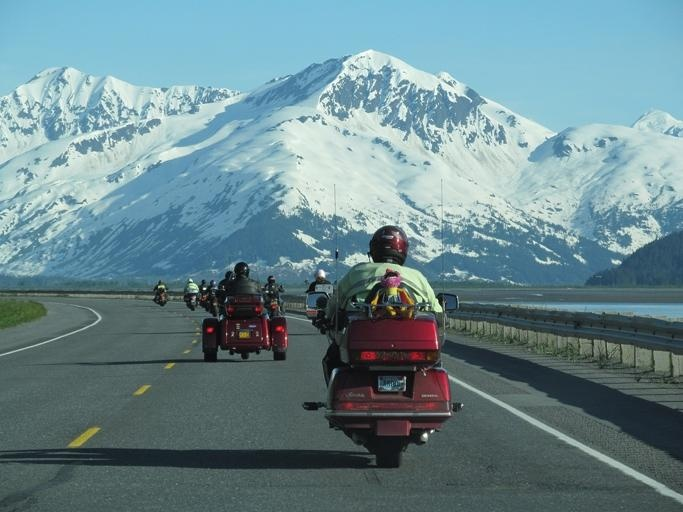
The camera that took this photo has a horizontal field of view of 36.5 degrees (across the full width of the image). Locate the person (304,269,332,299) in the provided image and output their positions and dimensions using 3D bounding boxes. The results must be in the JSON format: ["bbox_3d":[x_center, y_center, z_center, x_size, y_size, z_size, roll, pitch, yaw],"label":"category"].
[{"bbox_3d":[-0.578,0.635,26.055,0.531,0.527,0.995,2,2,0],"label":"person"}]

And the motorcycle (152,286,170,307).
[{"bbox_3d":[-12.359,2.789,71.115,1.430,1.404,2.728,2,2,-11],"label":"motorcycle"}]

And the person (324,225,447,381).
[{"bbox_3d":[0.730,0.316,13.643,1.412,1.092,2.109,-2,16,3],"label":"person"}]

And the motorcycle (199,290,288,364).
[{"bbox_3d":[-2.320,1.737,24.884,1.998,1.664,0.700,-2,5,-7],"label":"motorcycle"}]

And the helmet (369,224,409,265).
[{"bbox_3d":[0.673,-0.170,14.027,0.490,0.461,0.572,5,9,8],"label":"helmet"}]

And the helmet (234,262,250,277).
[{"bbox_3d":[-2.458,0.306,25.668,0.401,0.362,0.386,2,-21,0],"label":"helmet"}]

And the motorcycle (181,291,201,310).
[{"bbox_3d":[-8.776,2.614,60.753,0.898,0.886,1.673,2,-1,-7],"label":"motorcycle"}]
